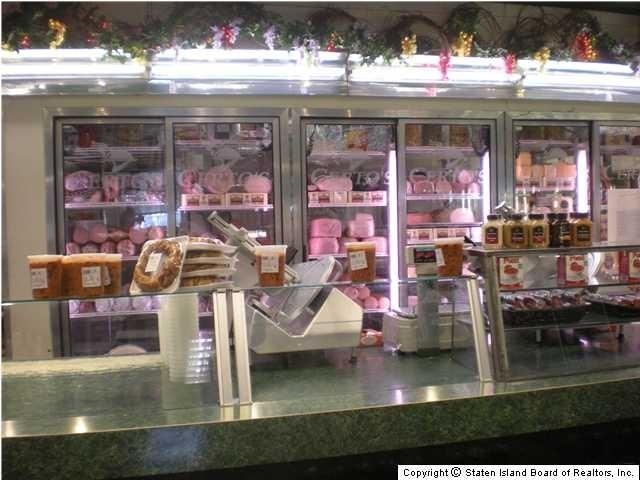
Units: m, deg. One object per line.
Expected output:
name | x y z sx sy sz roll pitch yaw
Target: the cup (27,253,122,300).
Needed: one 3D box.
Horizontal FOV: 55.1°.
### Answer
cup | -1.245 0.182 3.136 0.442 0.209 0.140 -3 2 -1
